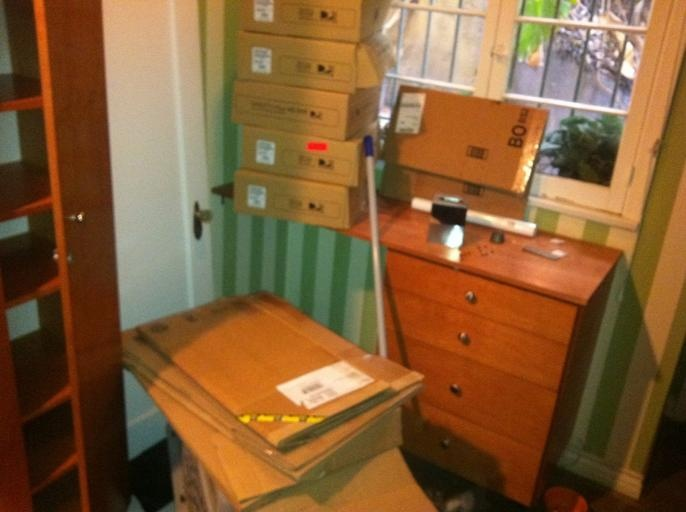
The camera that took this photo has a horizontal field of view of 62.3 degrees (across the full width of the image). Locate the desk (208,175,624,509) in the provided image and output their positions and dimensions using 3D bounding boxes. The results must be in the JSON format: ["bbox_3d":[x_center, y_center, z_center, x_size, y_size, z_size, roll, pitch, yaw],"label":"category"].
[{"bbox_3d":[0.574,0.389,2.444,0.872,1.035,0.496,15,27,23],"label":"desk"}]
